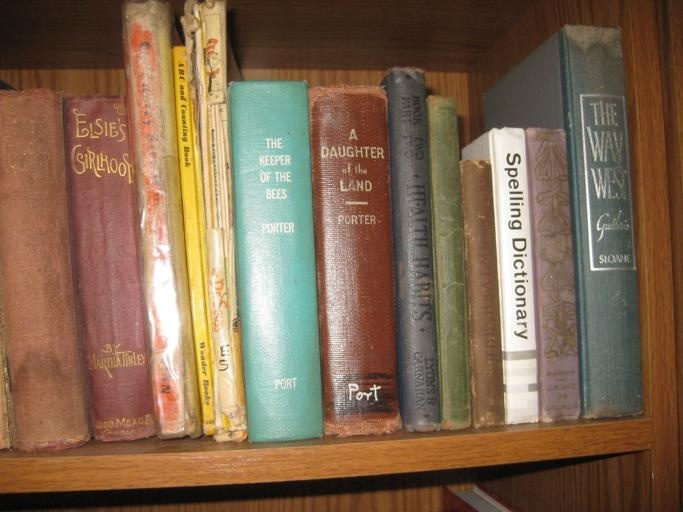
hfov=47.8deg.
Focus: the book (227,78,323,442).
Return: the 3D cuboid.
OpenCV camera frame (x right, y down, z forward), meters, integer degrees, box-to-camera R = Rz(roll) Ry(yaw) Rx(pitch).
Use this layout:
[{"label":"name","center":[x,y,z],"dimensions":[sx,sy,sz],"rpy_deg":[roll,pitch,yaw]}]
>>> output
[{"label":"book","center":[-0.088,0.006,1.057],"dimensions":[0.107,0.477,0.149],"rpy_deg":[-4,14,5]}]
